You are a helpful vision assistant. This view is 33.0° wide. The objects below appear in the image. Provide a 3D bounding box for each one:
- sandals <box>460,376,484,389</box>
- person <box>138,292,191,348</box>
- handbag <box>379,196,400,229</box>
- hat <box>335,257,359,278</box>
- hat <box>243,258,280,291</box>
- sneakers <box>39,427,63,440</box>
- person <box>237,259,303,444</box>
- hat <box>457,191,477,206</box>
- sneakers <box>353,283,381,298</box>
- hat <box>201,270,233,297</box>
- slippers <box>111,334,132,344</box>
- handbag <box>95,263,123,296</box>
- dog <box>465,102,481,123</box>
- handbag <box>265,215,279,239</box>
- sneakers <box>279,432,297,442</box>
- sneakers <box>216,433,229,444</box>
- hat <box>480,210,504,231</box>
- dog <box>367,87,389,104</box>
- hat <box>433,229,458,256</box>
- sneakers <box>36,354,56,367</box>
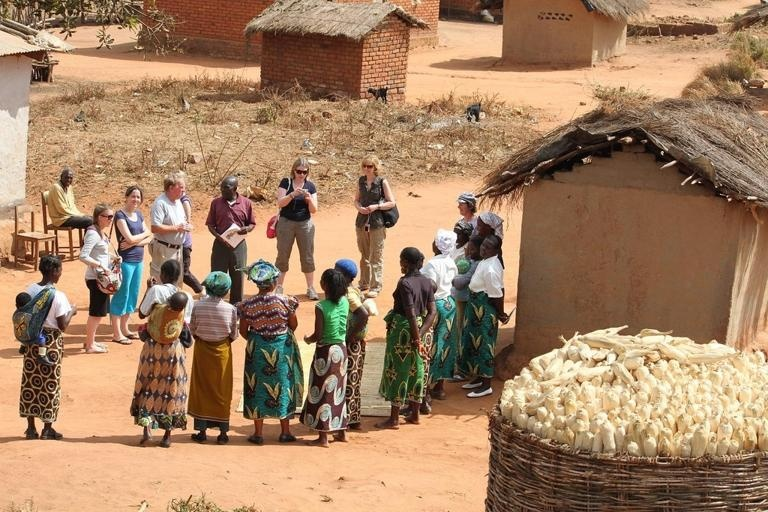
[{"bbox_3d":[1.330,1.930,19.867,0.334,0.051,0.136,-19,7,24],"label":"sandals"},{"bbox_3d":[-2.950,0.918,17.845,0.873,0.757,0.430,-3,25,-22],"label":"person"},{"bbox_3d":[0.124,-0.761,22.300,0.337,0.551,0.517,7,14,26],"label":"handbag"},{"bbox_3d":[-0.505,0.166,18.218,0.237,0.257,0.437,2,3,25],"label":"hat"},{"bbox_3d":[-1.739,0.264,17.893,0.410,0.417,0.142,-40,-13,-21],"label":"hat"},{"bbox_3d":[-4.659,2.471,18.116,0.323,0.181,0.145,2,2,-8],"label":"sneakers"},{"bbox_3d":[-1.594,1.155,17.906,0.880,2.215,0.299,1,4,-6],"label":"person"},{"bbox_3d":[1.279,-0.889,20.094,0.269,0.184,0.340,8,10,20],"label":"hat"},{"bbox_3d":[-0.340,0.584,22.527,0.334,0.127,0.238,7,2,-27],"label":"sneakers"},{"bbox_3d":[-2.277,0.350,17.811,0.325,0.359,0.371,5,37,7],"label":"hat"},{"bbox_3d":[-4.263,1.336,21.032,0.273,0.095,0.143,3,12,22],"label":"slippers"},{"bbox_3d":[-4.336,0.340,20.242,0.234,0.486,0.486,26,8,28],"label":"handbag"},{"bbox_3d":[2.258,-3.680,33.257,0.374,0.498,1.098,1,2,3],"label":"dog"},{"bbox_3d":[-1.907,-0.518,21.930,0.174,0.373,0.418,1,3,-5],"label":"handbag"},{"bbox_3d":[-1.390,2.540,18.263,0.120,0.092,0.226,7,5,29],"label":"sneakers"},{"bbox_3d":[-2.279,2.538,18.107,0.132,0.119,0.307,-1,-9,1],"label":"sneakers"},{"bbox_3d":[1.609,-0.552,19.545,0.325,0.169,0.281,31,11,20],"label":"hat"},{"bbox_3d":[-0.214,-4.378,34.979,0.557,0.508,1.011,1,2,-1],"label":"dog"},{"bbox_3d":[0.930,-0.197,19.149,0.340,0.351,0.398,5,-8,-6],"label":"hat"},{"bbox_3d":[-4.686,1.429,17.872,0.227,0.194,0.104,3,15,-9],"label":"sneakers"}]
